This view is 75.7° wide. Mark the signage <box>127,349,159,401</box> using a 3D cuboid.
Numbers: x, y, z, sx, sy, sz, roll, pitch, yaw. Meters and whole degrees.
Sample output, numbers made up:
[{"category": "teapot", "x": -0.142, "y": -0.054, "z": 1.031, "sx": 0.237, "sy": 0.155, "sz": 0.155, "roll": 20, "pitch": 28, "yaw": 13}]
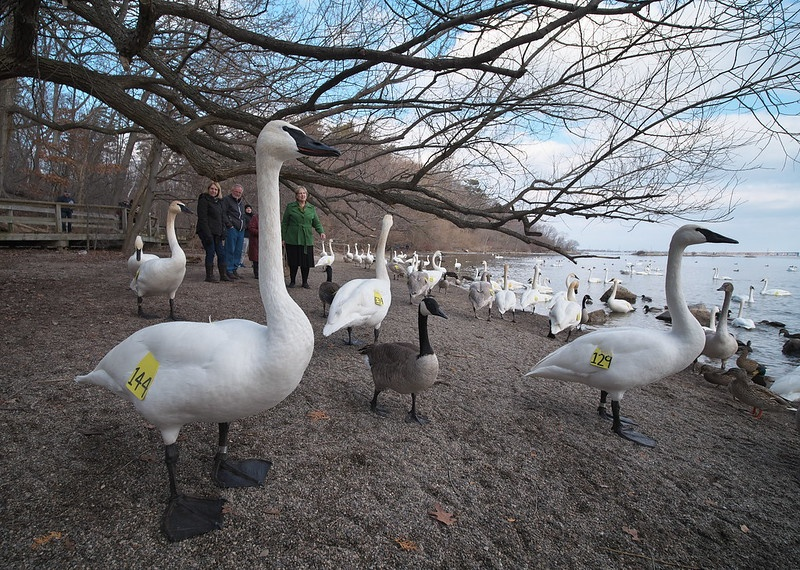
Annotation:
[{"category": "signage", "x": -2.707, "y": 0.977, "z": 5.468, "sx": 0.328, "sy": 0.550, "sz": 0.132, "roll": 37, "pitch": 7, "yaw": 37}]

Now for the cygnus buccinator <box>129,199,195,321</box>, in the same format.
[{"category": "cygnus buccinator", "x": -4.595, "y": -0.462, "z": 9.923, "sx": 1.707, "sy": 2.172, "sz": 0.773, "roll": 0, "pitch": -2, "yaw": 34}]

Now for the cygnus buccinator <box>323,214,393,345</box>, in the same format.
[{"category": "cygnus buccinator", "x": -0.649, "y": -0.052, "z": 9.566, "sx": 1.065, "sy": 2.618, "sz": 2.653, "roll": 4, "pitch": 8, "yaw": 23}]

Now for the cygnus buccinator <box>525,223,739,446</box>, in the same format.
[{"category": "cygnus buccinator", "x": 3.255, "y": 0.956, "z": 8.630, "sx": 3.176, "sy": 3.862, "sz": 2.712, "roll": 10, "pitch": 10, "yaw": 9}]

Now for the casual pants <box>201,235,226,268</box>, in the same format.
[{"category": "casual pants", "x": -5.211, "y": -0.920, "z": 14.468, "sx": 0.523, "sy": 1.566, "sz": 0.422, "roll": -3, "pitch": 45, "yaw": -16}]

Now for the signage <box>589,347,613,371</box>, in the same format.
[{"category": "signage", "x": 2.803, "y": 1.052, "z": 7.225, "sx": 0.287, "sy": 0.311, "sz": 0.033, "roll": 22, "pitch": -4, "yaw": 44}]
